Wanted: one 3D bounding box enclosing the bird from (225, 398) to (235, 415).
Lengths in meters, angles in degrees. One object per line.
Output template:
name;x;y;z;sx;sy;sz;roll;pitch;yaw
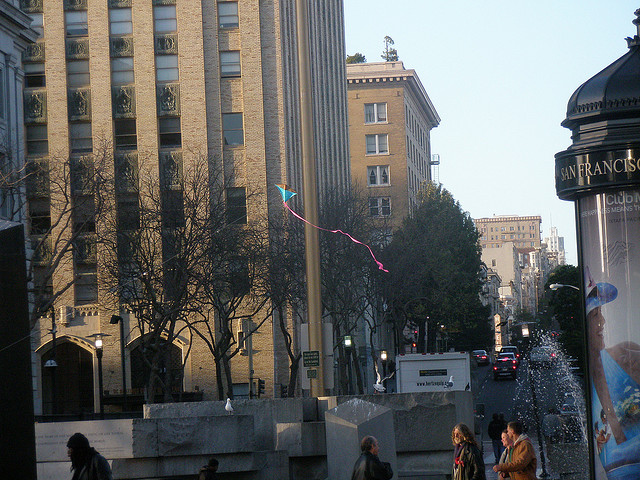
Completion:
bird;-3.359;6.054;54.901;0.276;0.568;1.066;-1;-10;-4

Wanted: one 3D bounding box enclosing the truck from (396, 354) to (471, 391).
truck;4.759;5.688;64.859;3.022;1.497;0.521;-3;-9;3

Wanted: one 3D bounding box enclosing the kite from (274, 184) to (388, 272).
kite;0.333;-0.421;76.643;6.386;0.710;0.881;44;-44;-14
